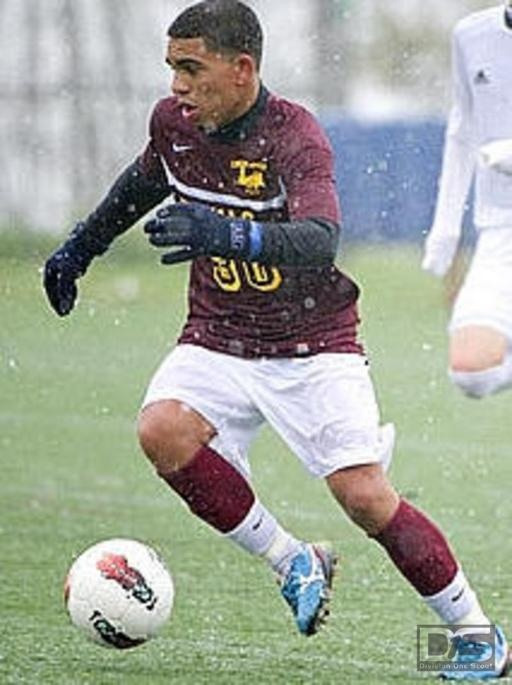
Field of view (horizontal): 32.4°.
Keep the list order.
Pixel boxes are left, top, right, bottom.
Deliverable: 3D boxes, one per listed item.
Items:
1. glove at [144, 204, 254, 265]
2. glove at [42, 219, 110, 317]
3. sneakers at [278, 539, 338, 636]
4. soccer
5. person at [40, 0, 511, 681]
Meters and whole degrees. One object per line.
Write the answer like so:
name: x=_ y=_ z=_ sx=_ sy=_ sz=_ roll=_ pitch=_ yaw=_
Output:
glove: x=-0.115 y=-0.237 z=1.927 sx=0.204 sy=0.119 sz=0.134 roll=12 pitch=-30 yaw=-39
glove: x=-0.474 y=-0.187 z=2.242 sx=0.069 sy=0.246 sz=0.144 roll=34 pitch=7 yaw=-46
sneakers: x=0.142 y=0.576 z=2.166 sx=0.102 sy=0.112 sz=0.264 roll=30 pitch=36 yaw=-9
soccer: x=-0.297 y=0.558 z=1.915 sx=0.174 sy=0.206 sz=0.174 roll=-39 pitch=13 yaw=47
person: x=0.013 y=-0.013 z=2.039 sx=1.198 sy=1.519 sz=0.462 roll=8 pitch=14 yaw=27
